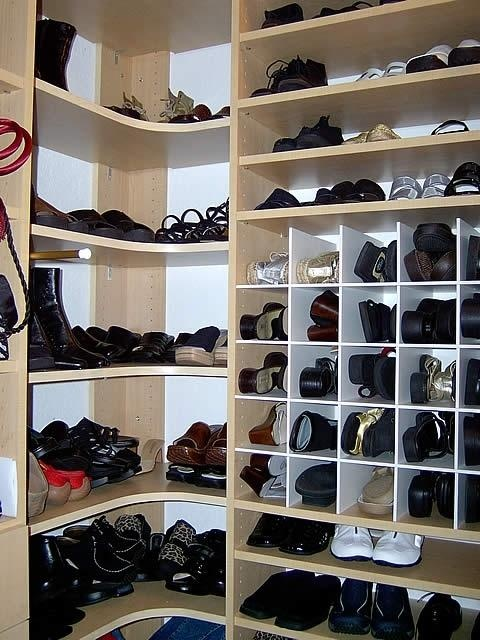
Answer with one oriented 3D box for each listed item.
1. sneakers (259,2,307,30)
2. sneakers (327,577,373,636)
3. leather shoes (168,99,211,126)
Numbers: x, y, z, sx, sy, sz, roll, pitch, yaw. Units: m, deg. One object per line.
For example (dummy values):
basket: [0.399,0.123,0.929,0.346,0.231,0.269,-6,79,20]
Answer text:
sneakers: [0.119,-0.880,1.486,0.157,0.064,0.071,22,44,40]
sneakers: [0.302,0.777,1.382,0.112,0.097,0.158,-1,-2,14]
leather shoes: [-0.156,-0.696,1.686,0.072,0.086,0.219,11,25,33]
